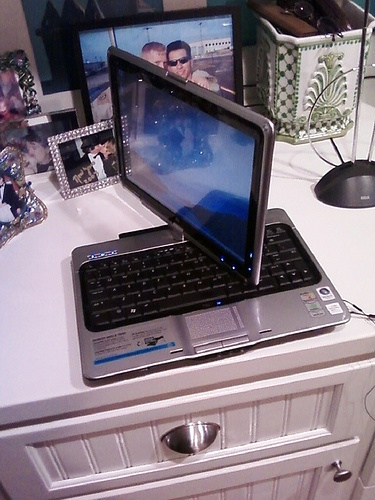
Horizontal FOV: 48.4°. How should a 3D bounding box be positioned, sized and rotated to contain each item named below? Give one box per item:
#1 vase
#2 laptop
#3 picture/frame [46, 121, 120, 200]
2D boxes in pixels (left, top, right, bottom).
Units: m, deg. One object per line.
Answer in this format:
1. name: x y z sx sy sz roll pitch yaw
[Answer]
1. vase: 0.185 -0.356 0.944 0.279 0.307 0.286 -5 45 -4
2. laptop: -0.012 -0.094 0.545 0.338 0.278 0.376 -11 35 -7
3. picture/frame: -0.193 -0.165 0.766 0.124 0.132 0.010 -23 35 -15
